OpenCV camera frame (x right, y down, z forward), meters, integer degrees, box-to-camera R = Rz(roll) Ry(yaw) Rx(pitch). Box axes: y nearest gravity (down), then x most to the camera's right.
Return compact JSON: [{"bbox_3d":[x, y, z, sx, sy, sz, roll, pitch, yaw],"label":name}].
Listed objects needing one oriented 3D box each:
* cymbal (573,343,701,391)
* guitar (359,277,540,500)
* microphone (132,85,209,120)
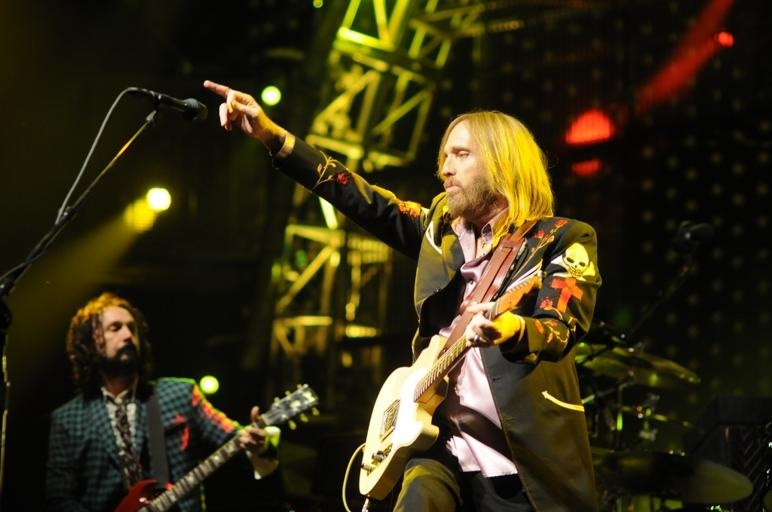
[{"bbox_3d":[2.182,1.029,7.881,1.004,0.131,1.052,-21,12,-41],"label":"cymbal"},{"bbox_3d":[0.271,1.031,5.886,0.212,0.778,1.955,16,-38,-10],"label":"guitar"},{"bbox_3d":[-1.578,-1.115,6.459,0.194,0.210,0.631,9,-1,42],"label":"microphone"}]
